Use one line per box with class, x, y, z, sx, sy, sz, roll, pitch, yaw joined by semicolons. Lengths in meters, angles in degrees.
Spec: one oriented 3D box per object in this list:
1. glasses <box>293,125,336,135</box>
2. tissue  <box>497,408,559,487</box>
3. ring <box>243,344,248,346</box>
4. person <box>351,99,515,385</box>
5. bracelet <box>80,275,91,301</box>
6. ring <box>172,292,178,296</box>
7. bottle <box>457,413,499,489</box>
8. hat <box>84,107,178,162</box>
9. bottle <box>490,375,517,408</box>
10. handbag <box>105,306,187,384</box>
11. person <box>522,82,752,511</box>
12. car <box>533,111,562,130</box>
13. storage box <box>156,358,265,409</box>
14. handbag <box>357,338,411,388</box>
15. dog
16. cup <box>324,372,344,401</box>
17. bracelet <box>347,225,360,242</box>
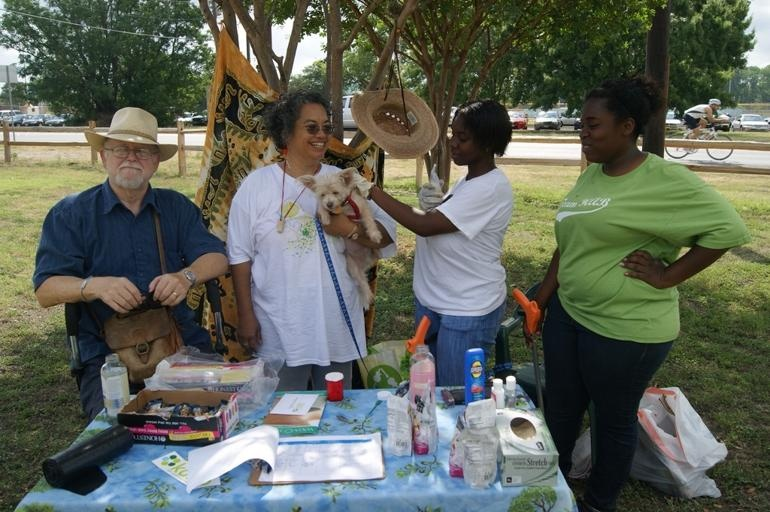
glasses;-0.589;-1.048;4.937;0.339;0.105;0.124;-4;11;-20
tissue ;0.909;1.258;3.961;0.340;0.243;0.484;-1;18;0
ring;-1.173;0.740;5.003;0.030;0.031;0.030;1;-5;0
person;0.563;0.235;5.304;1.003;3.093;0.985;11;19;40
bracelet;-2.281;0.254;4.567;0.058;0.144;0.120;7;-2;-19
ring;-1.658;0.298;4.700;0.026;0.007;0.027;3;42;-3
bottle;0.608;1.286;3.850;0.216;0.398;0.263;-3;3;-4
hat;-2.152;-1.070;5.071;0.744;0.308;0.793;3;0;1
bottle;0.814;0.932;4.127;0.220;0.253;0.141;0;4;-15
handbag;-1.943;0.689;4.860;0.556;0.649;0.334;-10;25;-5
person;1.846;0.346;4.674;1.299;3.400;0.591;3;11;15
car;11.753;-9.770;43.133;1.169;0.946;2.744;1;16;14
storage box;-1.284;0.885;4.384;0.442;0.161;0.447;2;4;-2
handbag;-0.019;0.977;5.328;0.509;0.193;0.519;-5;56;-3
dog;-0.303;-0.168;5.190;0.530;1.363;0.591;-13;16;9
cup;-0.366;0.967;4.460;0.171;0.186;0.179;0;2;0
bracelet;-0.258;-0.185;4.979;0.039;0.092;0.098;26;49;-12
